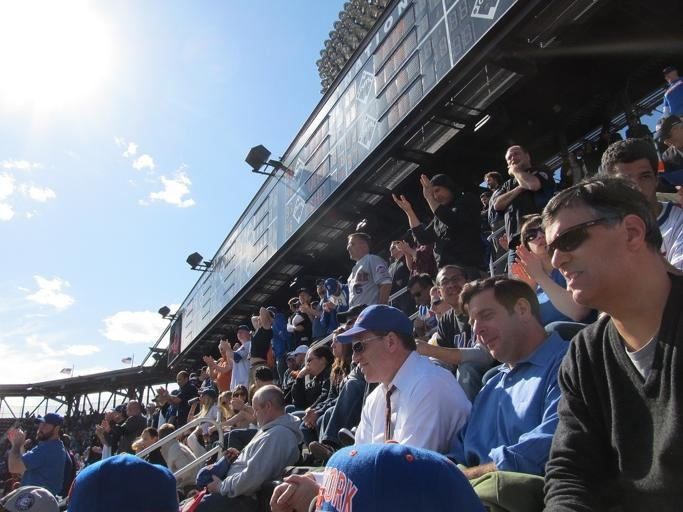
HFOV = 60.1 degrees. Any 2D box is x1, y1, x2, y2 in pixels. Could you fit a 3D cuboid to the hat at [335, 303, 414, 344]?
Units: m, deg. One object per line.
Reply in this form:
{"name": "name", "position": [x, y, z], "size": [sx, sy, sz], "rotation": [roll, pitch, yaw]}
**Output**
{"name": "hat", "position": [0.326, 0.594, 5.187], "size": [0.454, 0.275, 0.352], "rotation": [4, -21, 3]}

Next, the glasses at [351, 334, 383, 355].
{"name": "glasses", "position": [0.206, 0.737, 5.054], "size": [0.174, 0.060, 0.178], "rotation": [-5, -23, -33]}

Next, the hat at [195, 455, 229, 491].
{"name": "hat", "position": [-1.391, 2.341, 6.368], "size": [0.420, 0.321, 0.370], "rotation": [-5, -25, 6]}

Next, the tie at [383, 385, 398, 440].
{"name": "tie", "position": [0.395, 1.266, 4.773], "size": [0.078, 0.418, 0.137], "rotation": [16, -28, -36]}
